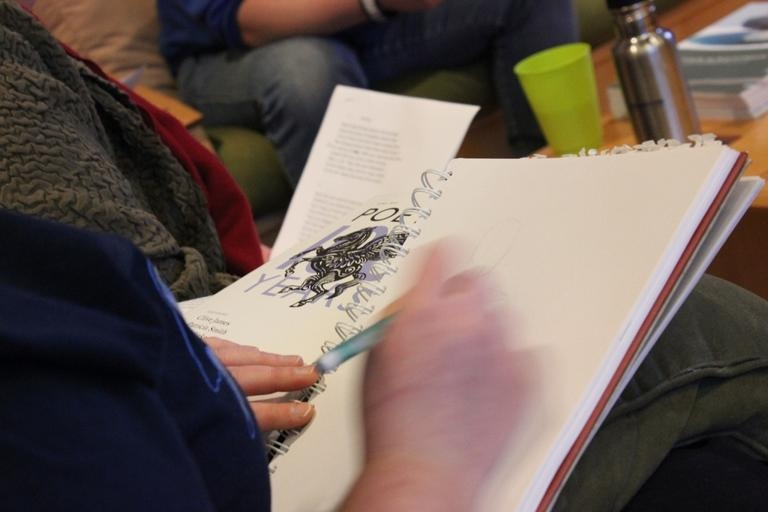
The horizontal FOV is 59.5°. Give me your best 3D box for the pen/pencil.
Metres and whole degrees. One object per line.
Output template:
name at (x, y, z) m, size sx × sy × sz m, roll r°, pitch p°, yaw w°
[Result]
pen/pencil at (-0.023, 0.076, 0.567) m, size 0.066 × 0.014 × 0.011 m, roll -32°, pitch 51°, yaw -19°
